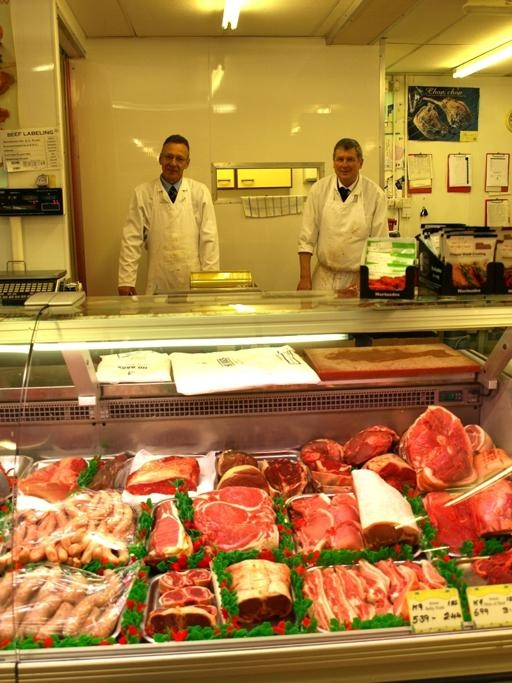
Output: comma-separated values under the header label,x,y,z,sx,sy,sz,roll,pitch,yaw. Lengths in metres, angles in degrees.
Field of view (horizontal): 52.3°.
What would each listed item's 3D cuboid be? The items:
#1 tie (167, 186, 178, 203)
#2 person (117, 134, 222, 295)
label,x,y,z,sx,sy,sz,roll,pitch,yaw
tie,-0.635,-1.128,3.983,0.066,0.118,0.028,0,11,4
person,-0.689,-0.948,4.014,0.775,1.154,0.429,-3,15,-6
